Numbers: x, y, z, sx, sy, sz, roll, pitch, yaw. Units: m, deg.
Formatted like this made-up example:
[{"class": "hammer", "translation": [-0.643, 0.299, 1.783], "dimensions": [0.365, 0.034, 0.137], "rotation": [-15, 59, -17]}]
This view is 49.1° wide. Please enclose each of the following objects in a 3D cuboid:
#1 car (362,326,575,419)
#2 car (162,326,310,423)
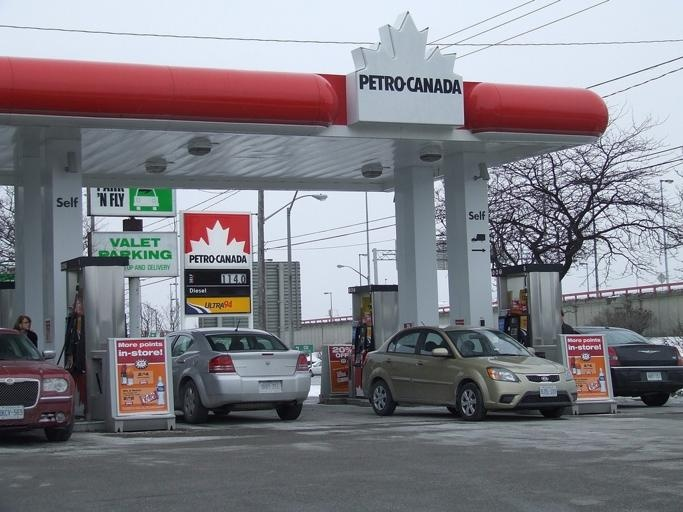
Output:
[{"class": "car", "translation": [2.456, 2.439, 15.649], "dimensions": [1.872, 1.468, 3.817], "rotation": [7, -12, -42]}, {"class": "car", "translation": [-2.538, 2.470, 15.866], "dimensions": [1.621, 1.264, 2.955], "rotation": [3, -4, -27]}]
